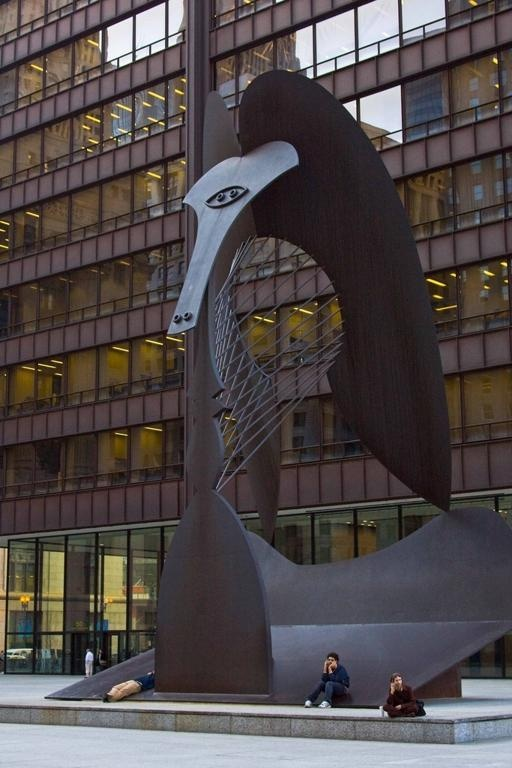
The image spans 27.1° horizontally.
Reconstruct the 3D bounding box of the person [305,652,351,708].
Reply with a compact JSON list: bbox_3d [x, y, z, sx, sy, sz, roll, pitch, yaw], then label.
[{"bbox_3d":[0.908,3.781,13.609,0.385,0.642,1.090,-9,-15,18],"label":"person"}]

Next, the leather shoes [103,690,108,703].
[{"bbox_3d":[-2.084,4.336,14.717,0.060,0.129,0.314,0,-16,-17],"label":"leather shoes"}]

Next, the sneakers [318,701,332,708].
[{"bbox_3d":[0.849,3.962,13.168,0.064,0.068,0.156,-3,-24,12],"label":"sneakers"}]

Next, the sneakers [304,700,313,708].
[{"bbox_3d":[0.637,3.940,13.152,0.102,0.096,0.181,-5,-15,1],"label":"sneakers"}]
